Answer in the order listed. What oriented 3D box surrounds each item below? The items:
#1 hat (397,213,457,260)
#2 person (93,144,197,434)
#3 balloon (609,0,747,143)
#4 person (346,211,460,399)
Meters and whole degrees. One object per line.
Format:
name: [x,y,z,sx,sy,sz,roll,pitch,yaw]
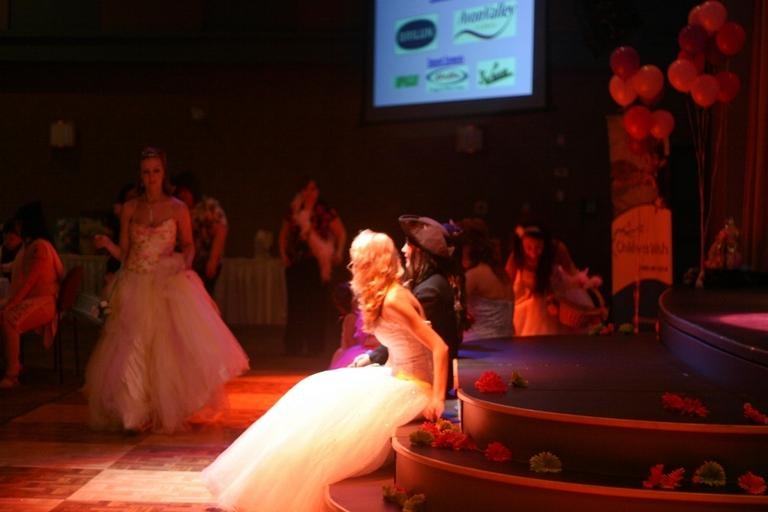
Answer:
hat: [0.279,-0.132,4.952,0.464,0.180,0.428,-13,36,5]
person: [-2.325,0.380,6.350,0.878,2.717,0.766,-2,13,-22]
balloon: [3.116,-1.932,6.836,1.192,1.306,1.200,-1,4,43]
person: [0.129,0.428,5.135,0.874,1.460,0.805,8,10,-17]
